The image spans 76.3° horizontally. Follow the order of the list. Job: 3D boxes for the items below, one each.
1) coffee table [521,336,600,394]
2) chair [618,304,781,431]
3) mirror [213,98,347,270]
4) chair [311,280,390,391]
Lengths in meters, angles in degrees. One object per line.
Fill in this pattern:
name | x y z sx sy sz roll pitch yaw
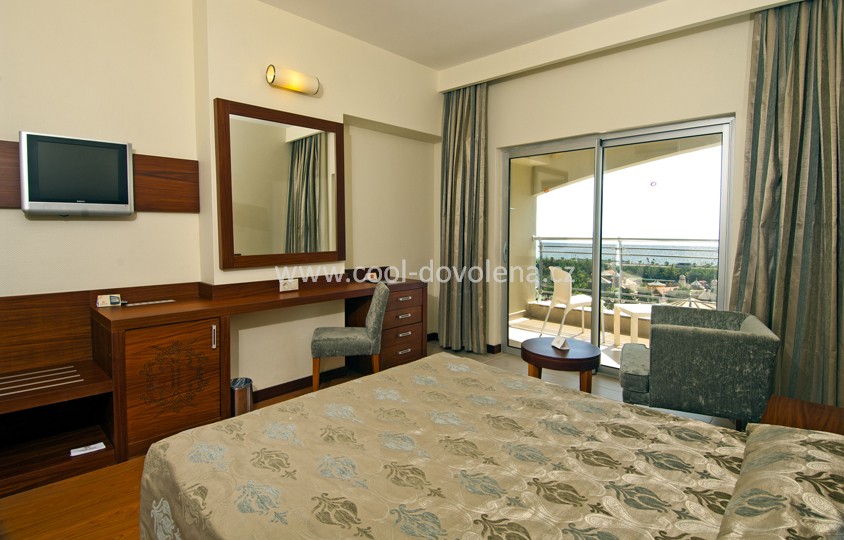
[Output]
coffee table | 1.210 0.749 4.594 0.567 0.392 0.557 -3 7 -36
chair | 2.219 0.758 4.370 1.125 0.802 1.068 2 6 32
mirror | -1.367 -0.818 4.991 1.779 1.932 0.092 -2 2 -42
chair | -0.573 0.576 5.469 1.003 1.221 0.850 2 0 -9
